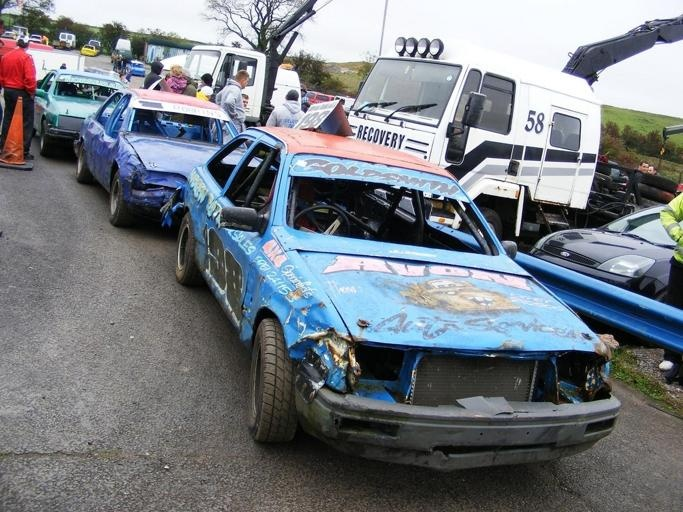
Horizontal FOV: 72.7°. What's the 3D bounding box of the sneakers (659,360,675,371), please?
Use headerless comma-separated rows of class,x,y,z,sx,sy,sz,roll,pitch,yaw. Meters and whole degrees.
sneakers,3.505,1.173,5.028,0.093,0.121,0.122,12,-12,-11

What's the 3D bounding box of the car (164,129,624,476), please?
car,-0.141,0.173,4.214,2.299,1.397,4.243,4,19,-28
